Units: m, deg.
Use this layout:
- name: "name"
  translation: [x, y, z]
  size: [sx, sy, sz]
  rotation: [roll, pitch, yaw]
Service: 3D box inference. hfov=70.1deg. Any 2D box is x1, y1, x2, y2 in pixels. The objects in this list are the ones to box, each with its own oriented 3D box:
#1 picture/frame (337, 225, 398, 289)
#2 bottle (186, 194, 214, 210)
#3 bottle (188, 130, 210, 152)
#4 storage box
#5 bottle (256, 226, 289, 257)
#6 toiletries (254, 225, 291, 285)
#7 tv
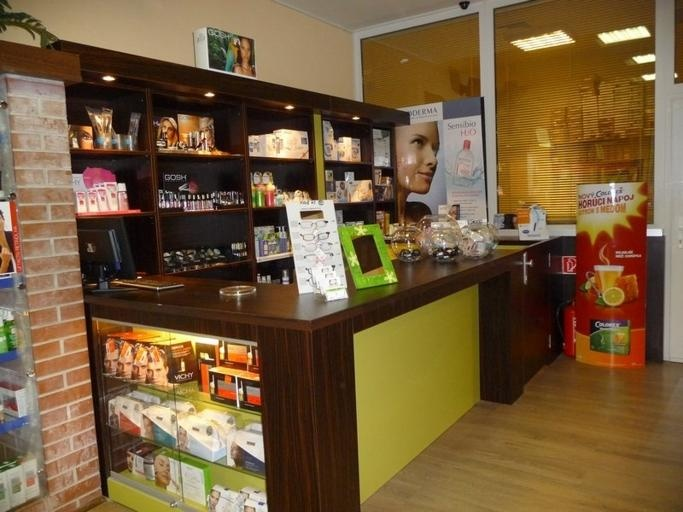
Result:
- name: "picture/frame"
  translation: [0.146, 0.016, 2.811]
  size: [0.342, 0.376, 0.016]
  rotation: [-20, -3, -39]
- name: "bottle"
  translation: [-1.233, -0.466, 4.270]
  size: [0.167, 0.149, 0.041]
  rotation: [0, -6, -21]
- name: "bottle"
  translation: [-1.212, -1.004, 4.289]
  size: [0.205, 0.195, 0.179]
  rotation: [-9, 13, -39]
- name: "storage box"
  translation: [2.800, -1.553, 5.216]
  size: [1.071, 0.703, 0.587]
  rotation: [6, 13, 39]
- name: "bottle"
  translation: [-0.706, -0.143, 4.936]
  size: [0.097, 0.251, 0.305]
  rotation: [-5, 1, 37]
- name: "toiletries"
  translation: [-0.696, -0.011, 4.889]
  size: [0.186, 0.552, 0.569]
  rotation: [3, 6, 27]
- name: "tv"
  translation: [-1.441, -0.002, 2.982]
  size: [0.467, 0.320, 0.170]
  rotation: [6, 8, 37]
